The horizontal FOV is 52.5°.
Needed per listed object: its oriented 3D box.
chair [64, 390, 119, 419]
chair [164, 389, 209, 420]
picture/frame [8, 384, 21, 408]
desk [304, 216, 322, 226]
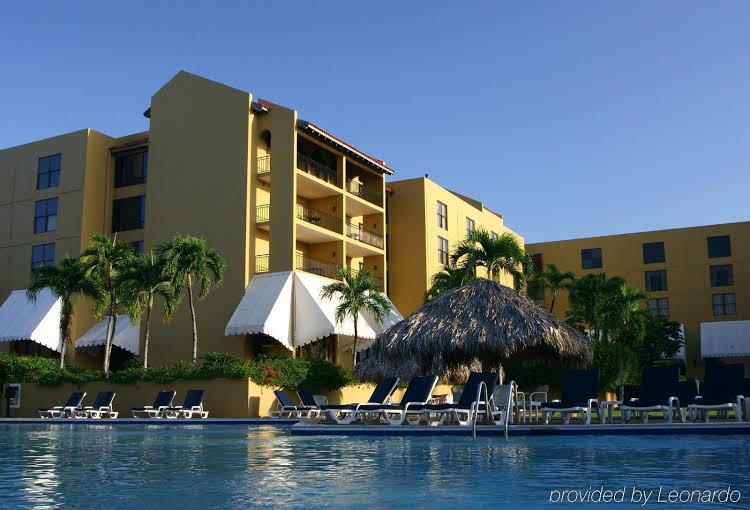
[{"bbox_3d":[-13.430,7.206,36.542,1.842,1.392,2.837,11,-19,-39],"label":"chair"},{"bbox_3d":[-8.520,7.082,35.387,1.390,1.605,2.239,-11,-18,29],"label":"chair"},{"bbox_3d":[-19.674,7.696,41.420,0.816,1.242,0.447,-11,-16,34],"label":"picture/frame"},{"bbox_3d":[-3.667,-2.119,45.462,0.354,0.637,1.273,-12,-18,38],"label":"desk"}]
